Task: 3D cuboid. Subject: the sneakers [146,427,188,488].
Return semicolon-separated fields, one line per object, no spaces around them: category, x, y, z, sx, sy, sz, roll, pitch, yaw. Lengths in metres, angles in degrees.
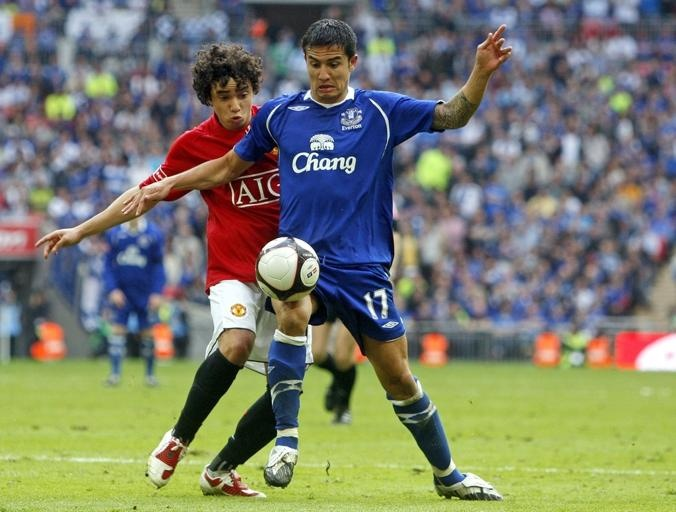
sneakers;-1.401;1.640;8.403;0.243;0.576;0.206;-19;-50;29

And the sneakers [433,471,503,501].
sneakers;1.046;1.862;8.437;0.558;0.252;0.218;6;-1;4

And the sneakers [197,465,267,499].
sneakers;-0.869;1.863;8.509;0.537;0.258;0.234;7;-3;-9

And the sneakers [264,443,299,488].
sneakers;-0.451;1.585;8.116;0.191;0.368;0.161;20;-23;-14

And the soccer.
soccer;-0.406;0.156;8.229;0.442;0.493;0.468;1;-18;-4
